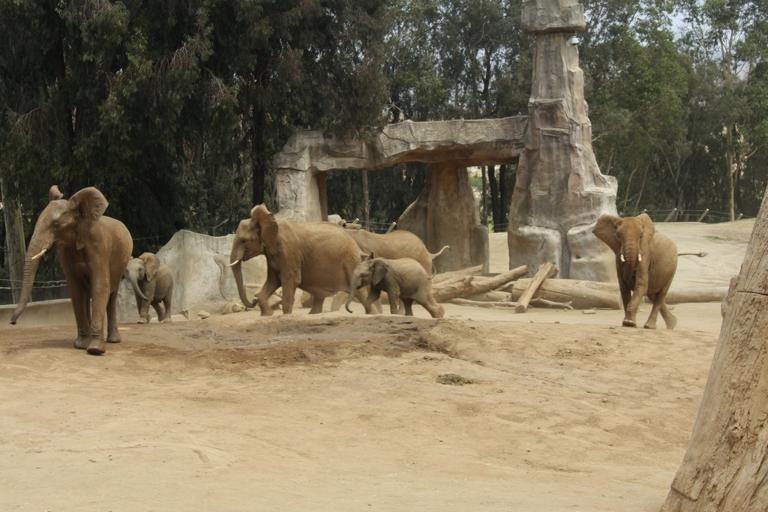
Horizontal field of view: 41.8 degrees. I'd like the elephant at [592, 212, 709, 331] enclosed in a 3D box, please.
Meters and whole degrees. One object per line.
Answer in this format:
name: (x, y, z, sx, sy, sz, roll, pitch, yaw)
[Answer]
elephant: (5.181, 0.314, 20.481, 1.535, 2.367, 1.337, 0, 5, 5)
